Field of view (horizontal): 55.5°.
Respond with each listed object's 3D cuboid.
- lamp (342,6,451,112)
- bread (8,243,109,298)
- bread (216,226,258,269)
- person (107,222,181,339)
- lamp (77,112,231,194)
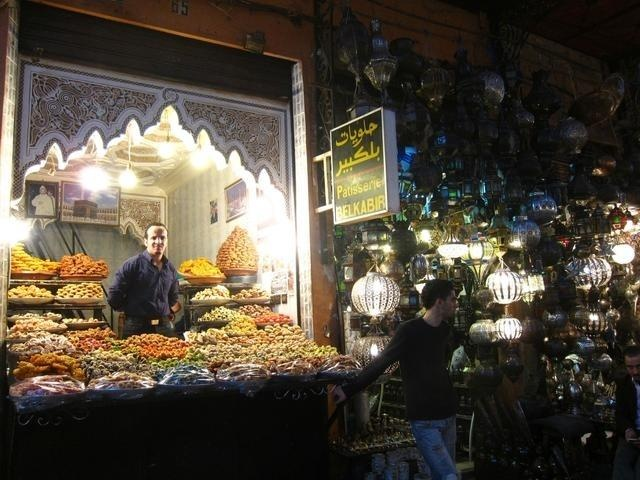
[{"bbox_3d":[0.921,-2.055,7.332,0.895,1.337,1.498,-4,-4,34],"label":"lamp"},{"bbox_3d":[-3.654,0.379,8.541,1.220,0.465,0.459,0,-4,-27],"label":"bread"},{"bbox_3d":[-1.139,0.105,8.424,0.540,0.582,0.556,1,-10,-7],"label":"bread"},{"bbox_3d":[-2.149,0.487,7.455,0.811,1.365,0.575,-1,-4,-14],"label":"person"},{"bbox_3d":[-3.165,-1.246,11.013,1.760,0.472,1.796,-19,-11,42],"label":"lamp"}]
